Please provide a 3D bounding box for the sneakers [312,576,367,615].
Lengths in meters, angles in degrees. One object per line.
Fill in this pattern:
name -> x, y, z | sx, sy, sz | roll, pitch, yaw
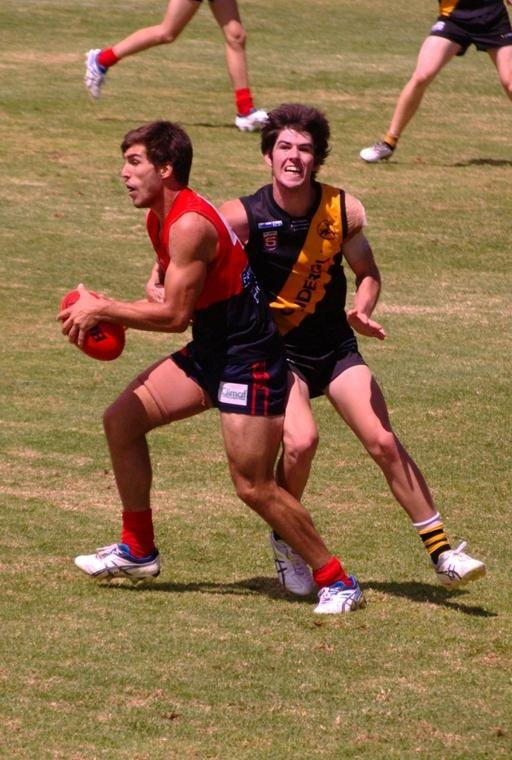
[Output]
sneakers -> 0.315, 0.809, 3.651 | 0.232, 0.082, 0.084 | -16, 6, -42

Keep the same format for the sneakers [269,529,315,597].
sneakers -> 0.145, 0.743, 3.912 | 0.113, 0.292, 0.132 | -44, 11, -27

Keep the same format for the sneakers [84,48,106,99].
sneakers -> -1.515, -2.909, 9.226 | 0.260, 0.451, 0.191 | 11, 26, 34

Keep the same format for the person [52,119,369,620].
person -> -0.170, -0.046, 3.630 | 1.209, 1.775, 0.477 | 8, 14, 4

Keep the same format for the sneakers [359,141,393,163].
sneakers -> 1.192, -2.264, 9.656 | 0.360, 0.141, 0.153 | -5, -17, -9

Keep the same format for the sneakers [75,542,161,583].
sneakers -> -0.518, 0.710, 3.785 | 0.392, 0.136, 0.122 | 4, 8, -5

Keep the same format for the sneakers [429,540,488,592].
sneakers -> 0.766, 0.715, 3.692 | 0.101, 0.116, 0.272 | -35, 6, -30
